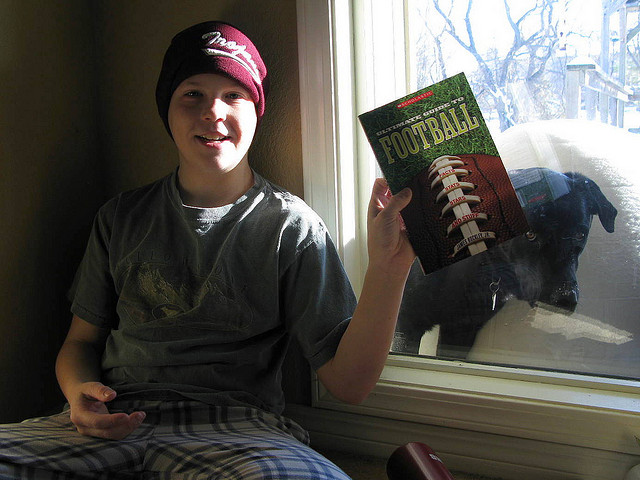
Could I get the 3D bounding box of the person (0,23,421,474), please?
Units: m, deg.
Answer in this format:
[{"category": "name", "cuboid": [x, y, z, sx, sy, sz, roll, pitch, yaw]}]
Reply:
[{"category": "person", "cuboid": [-0.253, -0.139, 1.710, 1.313, 1.368, 0.981, 1, -6, 1]}]
